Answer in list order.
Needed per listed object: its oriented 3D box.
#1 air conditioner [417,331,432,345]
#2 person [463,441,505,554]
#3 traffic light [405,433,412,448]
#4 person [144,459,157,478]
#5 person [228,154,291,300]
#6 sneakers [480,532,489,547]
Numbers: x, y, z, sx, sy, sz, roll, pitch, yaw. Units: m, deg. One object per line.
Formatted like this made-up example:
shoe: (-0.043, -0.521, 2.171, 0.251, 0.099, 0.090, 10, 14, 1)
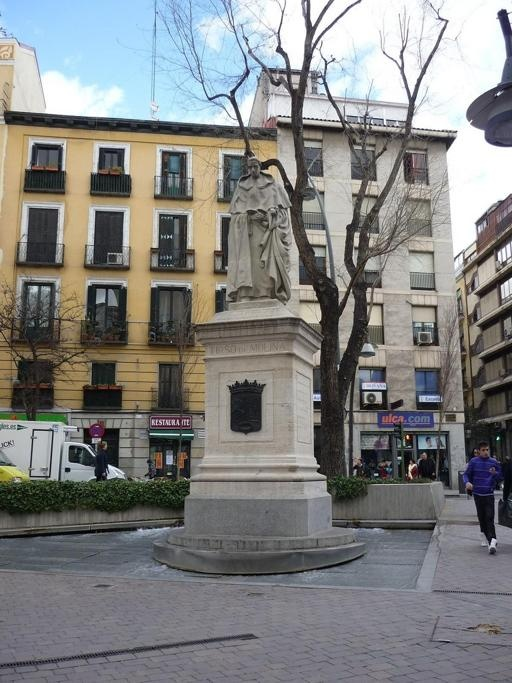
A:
air conditioner: (10.153, -0.141, 36.980, 0.933, 0.799, 0.562, 0, -9, 2)
person: (3.746, 2.519, 10.154, 0.570, 1.609, 1.021, -3, -9, 20)
traffic light: (9.079, 5.934, 36.620, 0.436, 0.782, 0.221, -1, -9, 7)
person: (-5.208, 6.334, 30.736, 0.538, 0.932, 1.698, 1, -9, -9)
person: (0.048, -1.892, 10.310, 1.007, 2.488, 0.510, 1, -9, -3)
sneakers: (3.678, 3.188, 9.888, 0.100, 0.224, 0.200, -3, -9, 20)
